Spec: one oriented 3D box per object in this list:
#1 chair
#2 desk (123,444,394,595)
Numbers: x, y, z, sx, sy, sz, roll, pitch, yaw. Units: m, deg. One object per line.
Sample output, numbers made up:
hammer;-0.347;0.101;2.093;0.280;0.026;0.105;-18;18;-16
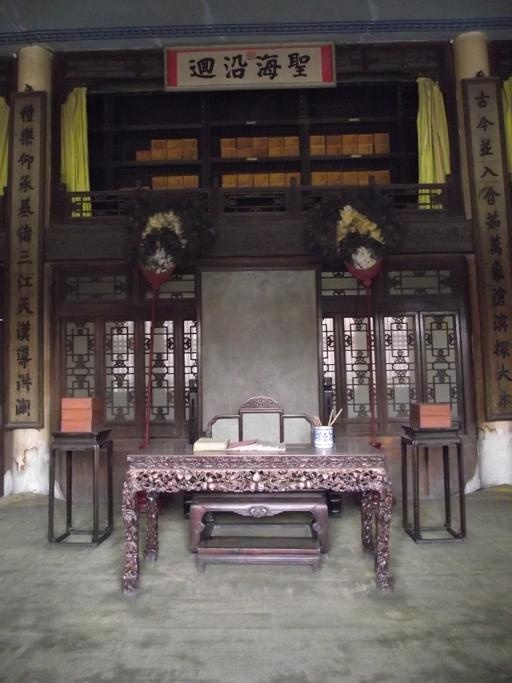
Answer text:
chair;-0.097;0.746;3.732;0.844;0.551;0.405;-14;24;-27
desk;0.014;0.887;3.708;1.453;0.677;0.593;-1;3;-1
